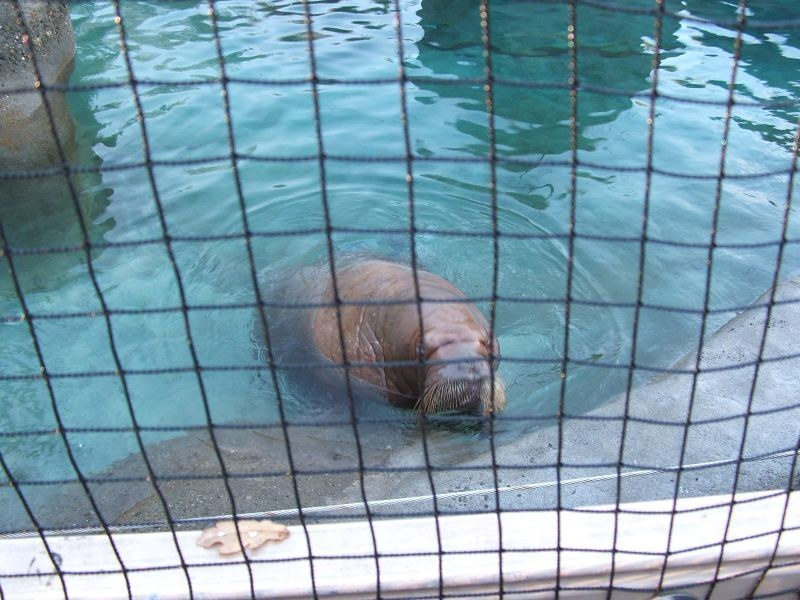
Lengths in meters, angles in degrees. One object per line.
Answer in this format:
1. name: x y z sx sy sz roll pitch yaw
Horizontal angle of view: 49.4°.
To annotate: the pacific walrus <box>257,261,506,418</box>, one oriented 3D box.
1. pacific walrus: -0.142 0.247 8.031 2.931 1.369 1.270 -2 26 -16
